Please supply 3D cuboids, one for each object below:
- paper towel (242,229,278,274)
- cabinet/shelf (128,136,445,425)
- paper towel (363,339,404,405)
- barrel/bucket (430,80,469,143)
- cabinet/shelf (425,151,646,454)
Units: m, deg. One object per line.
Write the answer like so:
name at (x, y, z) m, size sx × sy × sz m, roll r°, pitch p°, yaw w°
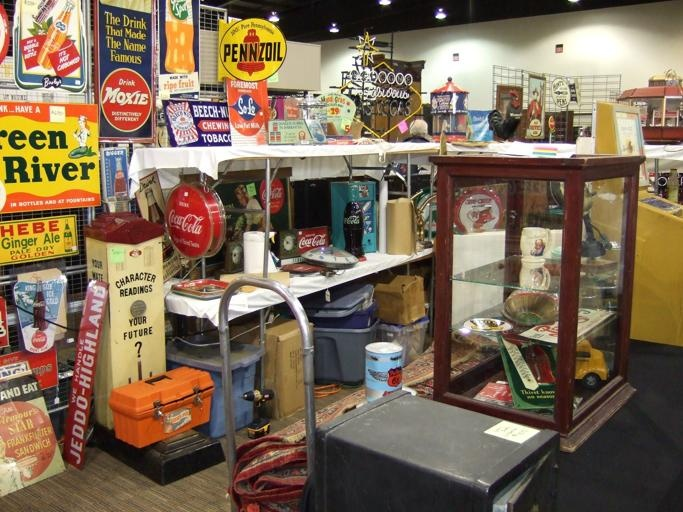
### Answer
paper towel at (-0.614, -0.037, 4.161) m, size 0.184 × 0.303 × 0.257 m, roll 6°, pitch 3°, yaw -12°
cabinet/shelf at (-0.454, 0.179, 3.944) m, size 1.063 × 1.460 × 2.935 m, roll 14°, pitch 22°, yaw 35°
paper towel at (0.254, 0.623, 3.088) m, size 0.185 × 0.302 × 0.209 m, roll 4°, pitch 6°, yaw 39°
barrel/bucket at (1.121, -1.495, 5.758) m, size 0.363 × 0.639 × 0.376 m, roll -3°, pitch 14°, yaw 1°
cabinet/shelf at (0.902, 0.087, 2.791) m, size 0.800 × 1.364 × 0.915 m, roll 9°, pitch 14°, yaw 30°
